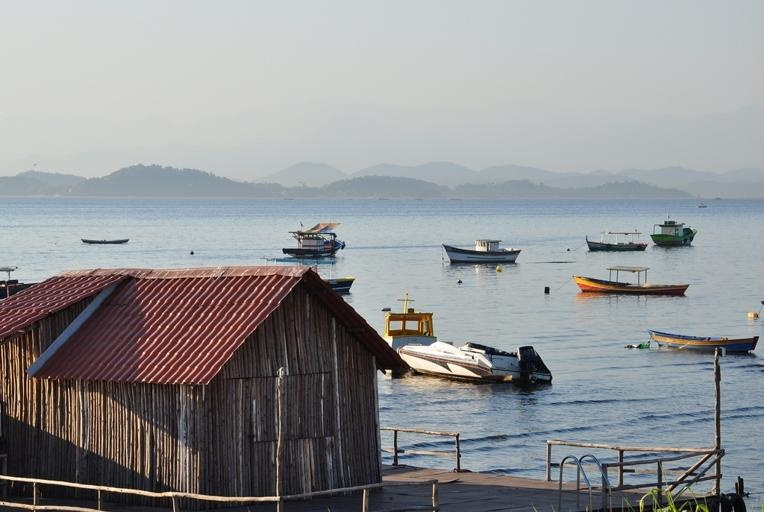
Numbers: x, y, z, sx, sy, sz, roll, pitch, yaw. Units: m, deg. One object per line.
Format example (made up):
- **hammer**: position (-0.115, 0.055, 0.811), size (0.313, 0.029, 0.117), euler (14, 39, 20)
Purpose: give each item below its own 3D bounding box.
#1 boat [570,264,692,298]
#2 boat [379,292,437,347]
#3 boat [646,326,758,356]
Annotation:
- **boat**: position (25.608, 2.528, 165.896), size (10.297, 5.124, 36.765), euler (-1, -4, 10)
- **boat**: position (1.676, 4.989, 112.972), size (2.966, 2.281, 4.418), euler (0, -1, -8)
- **boat**: position (22.403, 6.064, 114.271), size (7.512, 1.631, 2.435), euler (-4, -6, 42)
